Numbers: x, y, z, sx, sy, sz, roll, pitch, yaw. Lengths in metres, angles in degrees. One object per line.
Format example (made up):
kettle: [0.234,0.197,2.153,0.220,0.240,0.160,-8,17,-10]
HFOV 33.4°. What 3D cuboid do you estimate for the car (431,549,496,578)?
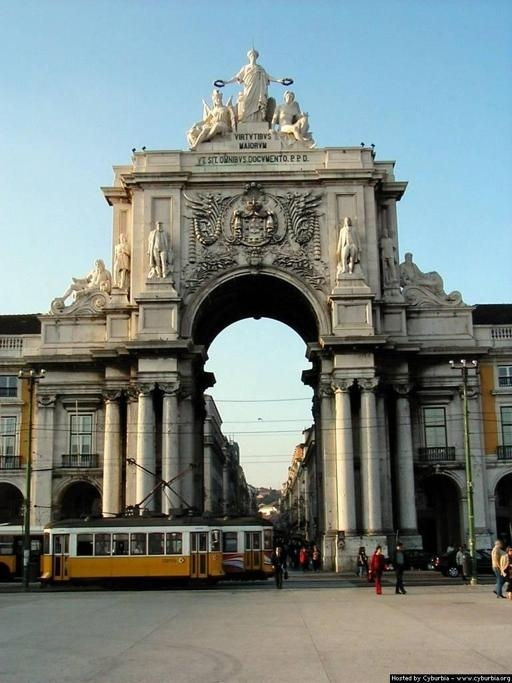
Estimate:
car: [10.385,11.144,42.250,3.240,1.197,1.476,-2,-8,-4]
